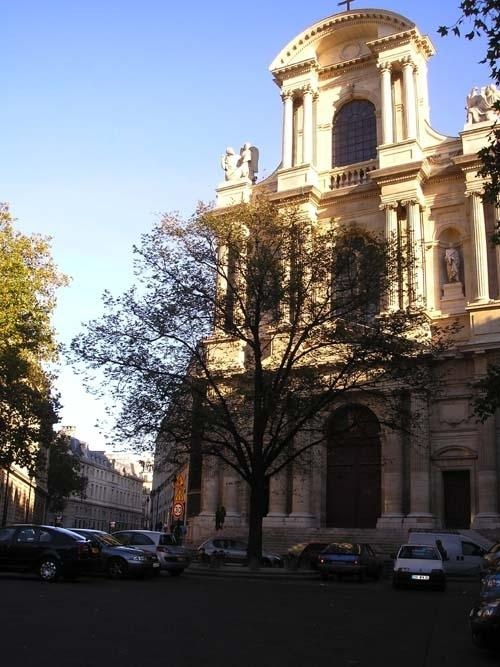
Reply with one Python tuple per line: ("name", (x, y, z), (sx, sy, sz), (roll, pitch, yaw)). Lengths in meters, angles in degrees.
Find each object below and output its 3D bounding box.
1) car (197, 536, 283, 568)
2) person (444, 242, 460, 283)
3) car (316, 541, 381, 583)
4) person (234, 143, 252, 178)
("car", (-0.459, 8.486, 28.095), (3.368, 1.062, 1.443), (-2, -15, 6))
("person", (9.389, -3.288, 34.255), (0.657, 2.111, 0.754), (0, -17, 1))
("car", (2.888, 6.817, 21.899), (1.292, 1.085, 2.185), (-6, -17, 21))
("person", (-0.414, -9.842, 42.287), (0.643, 2.475, 1.160), (14, -22, -36))
